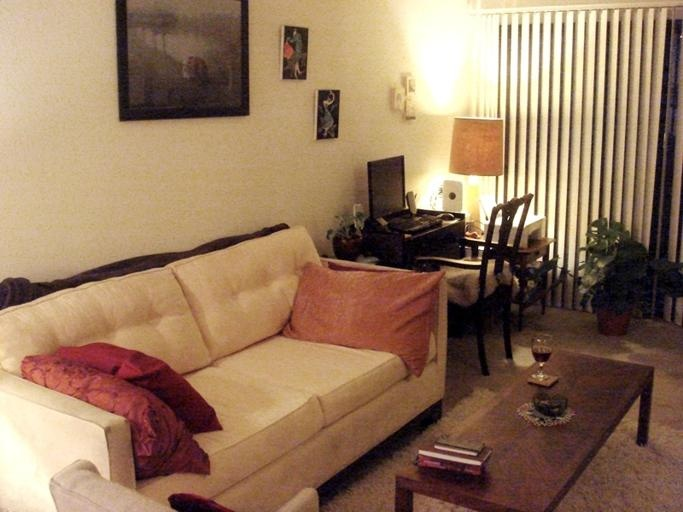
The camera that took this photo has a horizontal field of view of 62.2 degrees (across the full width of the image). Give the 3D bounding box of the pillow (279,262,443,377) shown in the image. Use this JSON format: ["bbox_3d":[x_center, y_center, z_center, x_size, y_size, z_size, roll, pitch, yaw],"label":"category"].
[{"bbox_3d":[0.057,0.292,3.253,0.974,0.365,0.564,7,20,25],"label":"pillow"}]

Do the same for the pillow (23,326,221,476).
[{"bbox_3d":[-0.811,0.593,2.173,0.673,0.418,0.425,5,15,23],"label":"pillow"}]

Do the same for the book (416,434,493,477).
[{"bbox_3d":[0.438,0.769,2.184,0.163,0.054,0.157,2,5,23],"label":"book"}]

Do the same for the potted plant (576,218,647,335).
[{"bbox_3d":[2.138,0.158,4.496,0.478,0.890,0.358,5,16,23],"label":"potted plant"}]

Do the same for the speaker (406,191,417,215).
[{"bbox_3d":[0.562,-0.442,4.579,0.045,0.157,0.163,-2,17,14],"label":"speaker"}]

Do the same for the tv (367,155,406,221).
[{"bbox_3d":[0.327,-0.522,4.314,0.055,0.376,0.541,0,7,29],"label":"tv"}]

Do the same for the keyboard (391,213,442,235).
[{"bbox_3d":[0.552,-0.247,4.252,0.329,0.045,0.189,-13,24,-43],"label":"keyboard"}]
